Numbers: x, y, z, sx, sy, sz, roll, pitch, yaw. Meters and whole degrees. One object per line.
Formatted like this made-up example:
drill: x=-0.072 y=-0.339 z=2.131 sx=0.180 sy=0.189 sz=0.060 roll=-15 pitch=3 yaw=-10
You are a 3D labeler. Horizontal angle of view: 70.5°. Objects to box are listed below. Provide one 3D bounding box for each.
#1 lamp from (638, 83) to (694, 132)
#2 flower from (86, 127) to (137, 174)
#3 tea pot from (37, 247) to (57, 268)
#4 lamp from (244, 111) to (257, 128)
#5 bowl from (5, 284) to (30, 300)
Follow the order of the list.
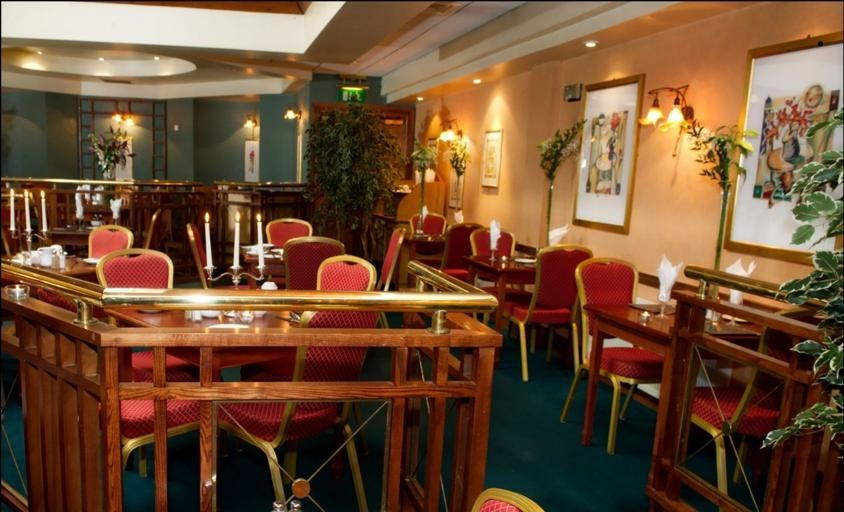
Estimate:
lamp: x=2.287 y=-1.402 z=5.612 sx=0.446 sy=0.459 sz=0.428 roll=9 pitch=19 yaw=32
flower: x=-5.827 y=-1.864 z=11.084 sx=0.761 sy=0.713 sz=0.768 roll=10 pitch=9 yaw=33
tea pot: x=-3.397 y=0.008 z=5.407 sx=0.152 sy=0.183 sz=0.375 roll=-3 pitch=8 yaw=-32
lamp: x=-4.114 y=-3.251 z=14.294 sx=0.339 sy=0.303 sz=0.411 roll=-1 pitch=7 yaw=-17
bowl: x=-2.397 y=0.213 z=3.512 sx=0.132 sy=0.073 sz=0.128 roll=4 pitch=1 yaw=0
